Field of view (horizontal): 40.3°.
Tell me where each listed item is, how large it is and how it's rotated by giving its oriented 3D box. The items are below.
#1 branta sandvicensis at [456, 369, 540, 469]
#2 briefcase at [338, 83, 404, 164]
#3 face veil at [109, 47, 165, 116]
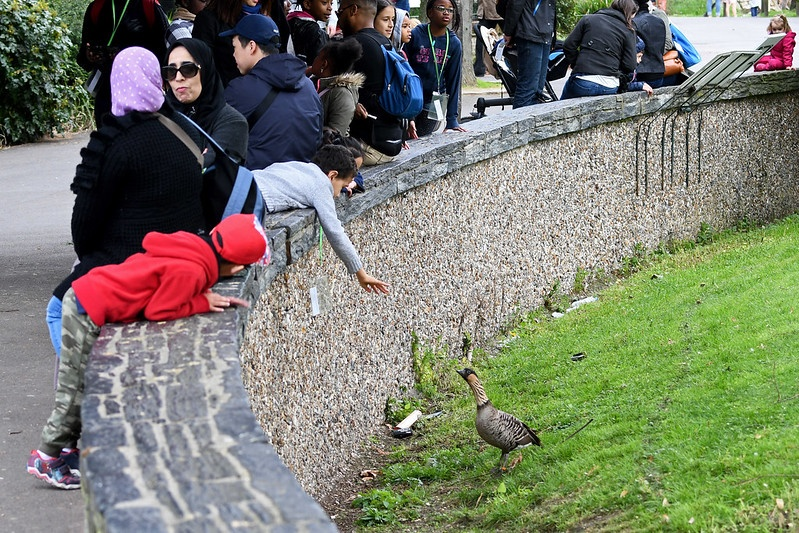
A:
[{"bbox_3d":[1.053,1.538,11.000,0.900,1.079,0.395,-2,5,-17],"label":"branta sandvicensis"},{"bbox_3d":[-0.449,-1.611,11.415,1.163,0.951,0.379,-4,-8,43],"label":"briefcase"},{"bbox_3d":[-2.085,-1.474,8.632,0.400,0.512,0.276,-5,13,-17],"label":"face veil"}]
